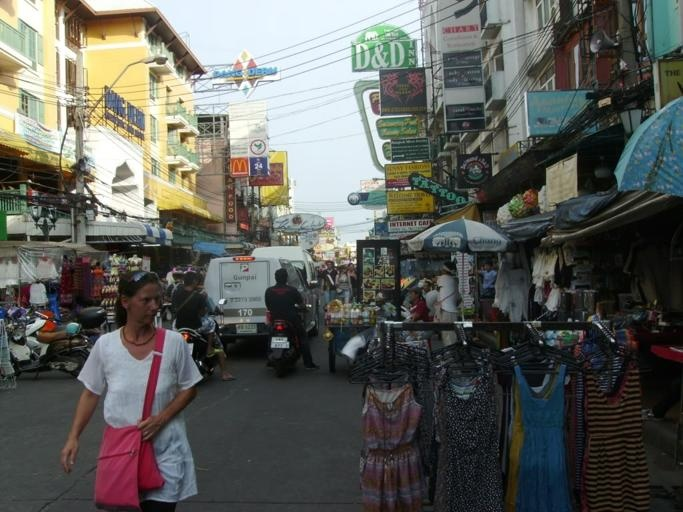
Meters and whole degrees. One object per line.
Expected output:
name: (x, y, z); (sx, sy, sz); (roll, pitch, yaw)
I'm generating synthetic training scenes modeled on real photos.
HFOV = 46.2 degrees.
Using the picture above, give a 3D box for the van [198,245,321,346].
van: (-1.889, 0.775, 18.432); (1.638, 1.627, 2.898); (-1, 2, 12)

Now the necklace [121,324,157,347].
necklace: (-1.825, 0.724, 7.151); (0.180, 0.055, 0.217); (-4, 33, -15)

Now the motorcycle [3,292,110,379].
motorcycle: (-5.912, 1.567, 15.439); (2.485, 1.605, 1.302); (1, 0, -4)

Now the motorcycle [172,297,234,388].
motorcycle: (-2.606, 1.590, 14.403); (0.779, 1.374, 1.962); (-7, -4, 2)

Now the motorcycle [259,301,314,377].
motorcycle: (-1.012, 1.673, 15.314); (0.572, 0.880, 1.440); (-1, 1, 7)

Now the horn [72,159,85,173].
horn: (-7.966, -2.749, 24.340); (0.306, 0.512, 0.150); (6, -4, -33)
